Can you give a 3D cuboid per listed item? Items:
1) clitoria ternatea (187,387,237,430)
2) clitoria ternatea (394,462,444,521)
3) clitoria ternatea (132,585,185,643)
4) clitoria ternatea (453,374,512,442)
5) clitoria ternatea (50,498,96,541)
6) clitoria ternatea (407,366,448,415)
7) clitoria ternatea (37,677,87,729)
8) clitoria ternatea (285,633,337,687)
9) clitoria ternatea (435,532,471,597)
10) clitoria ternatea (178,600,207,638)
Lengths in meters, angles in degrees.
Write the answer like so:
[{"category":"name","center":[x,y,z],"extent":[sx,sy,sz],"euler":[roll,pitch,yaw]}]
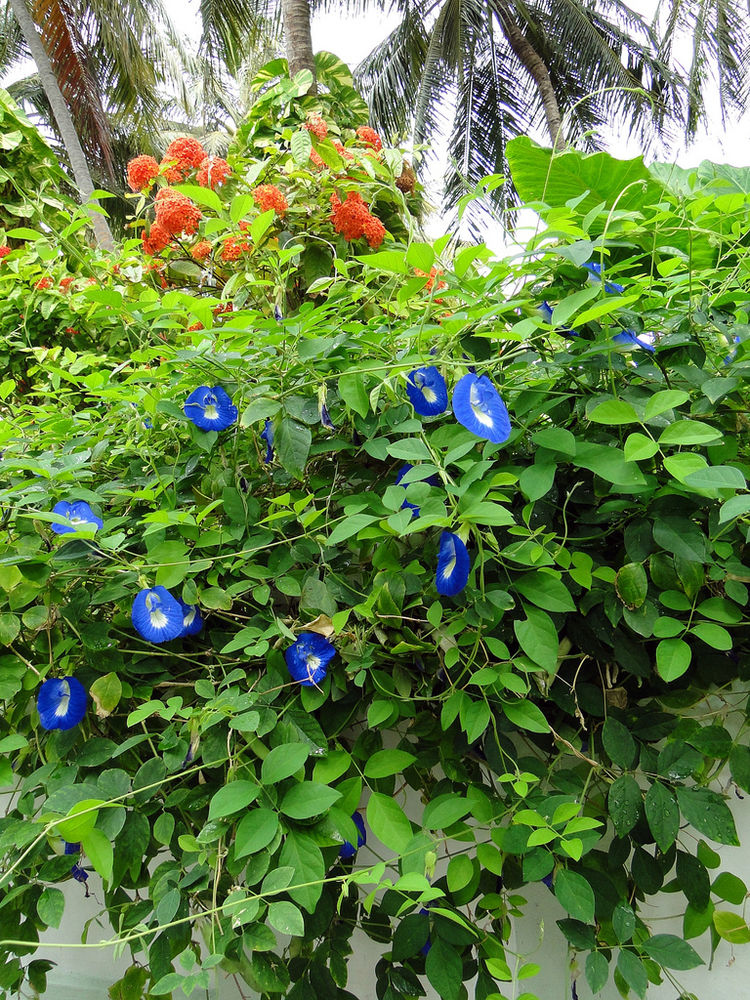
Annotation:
[{"category":"clitoria ternatea","center":[-0.221,-0.121,1.020],"extent":[0.070,0.061,0.023],"euler":[-8,6,-39]},{"category":"clitoria ternatea","center":[0.048,-0.012,0.950],"extent":[0.056,0.067,0.012],"euler":[-16,-25,30]},{"category":"clitoria ternatea","center":[-0.266,0.134,0.932],"extent":[0.064,0.068,0.024],"euler":[-17,10,-32]},{"category":"clitoria ternatea","center":[0.124,-0.104,0.866],"extent":[0.052,0.080,0.093],"euler":[-2,5,22]},{"category":"clitoria ternatea","center":[-0.377,0.018,0.955],"extent":[0.060,0.053,0.014],"euler":[-4,-24,-26]},{"category":"clitoria ternatea","center":[0.068,-0.136,0.964],"extent":[0.051,0.061,0.015],"euler":[-29,0,-1]},{"category":"clitoria ternatea","center":[-0.395,0.256,0.957],"extent":[0.066,0.064,0.017],"euler":[-4,-16,-17]},{"category":"clitoria ternatea","center":[-0.076,0.194,0.933],"extent":[0.060,0.066,0.030],"euler":[-8,6,-37]},{"category":"clitoria ternatea","center":[0.085,0.072,0.852],"extent":[0.022,0.069,0.049],"euler":[9,-36,-36]},{"category":"clitoria ternatea","center":[-0.238,0.154,0.987],"extent":[0.015,0.040,0.042],"euler":[7,19,38]}]
